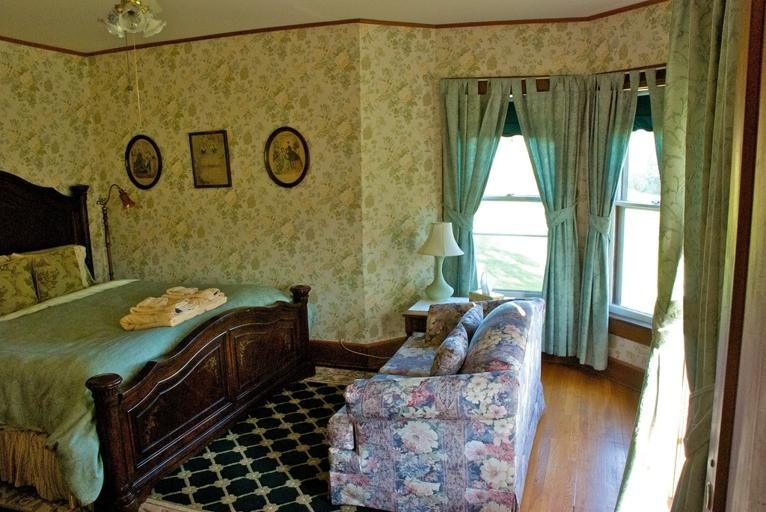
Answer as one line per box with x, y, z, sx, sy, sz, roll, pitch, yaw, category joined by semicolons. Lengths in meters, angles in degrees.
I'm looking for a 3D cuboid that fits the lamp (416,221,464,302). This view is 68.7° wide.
0.537;0.053;5.349;0.405;0.781;0.467;1;13;3;lamp
